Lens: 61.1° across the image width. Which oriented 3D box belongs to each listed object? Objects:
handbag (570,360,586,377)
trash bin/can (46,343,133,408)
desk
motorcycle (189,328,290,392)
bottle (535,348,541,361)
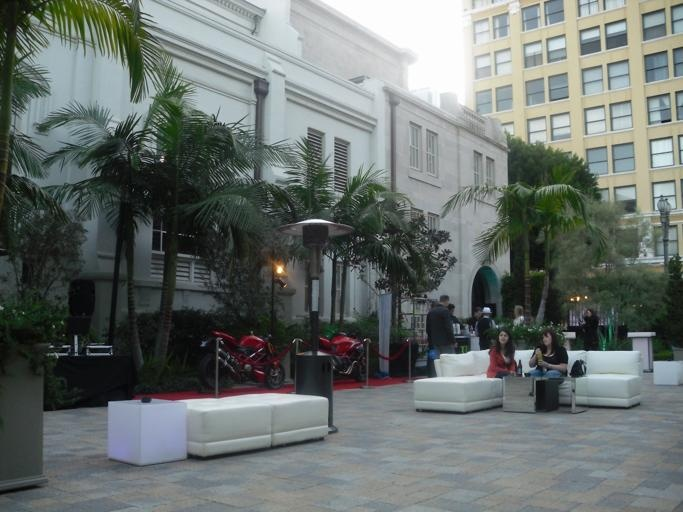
[{"bbox_3d":[4.473,2.147,11.016,0.295,0.317,0.158,8,-9,-43],"label":"handbag"},{"bbox_3d":[-4.711,2.315,10.798,0.437,0.975,1.788,-6,-9,34],"label":"trash bin/can"},{"bbox_3d":[-2.276,2.010,6.893,0.833,0.719,0.924,2,-1,-35],"label":"desk"},{"bbox_3d":[-2.180,2.322,12.951,2.023,1.435,0.570,2,-5,-20],"label":"motorcycle"},{"bbox_3d":[3.720,1.874,10.972,0.110,0.246,0.248,-3,-8,18],"label":"bottle"}]
